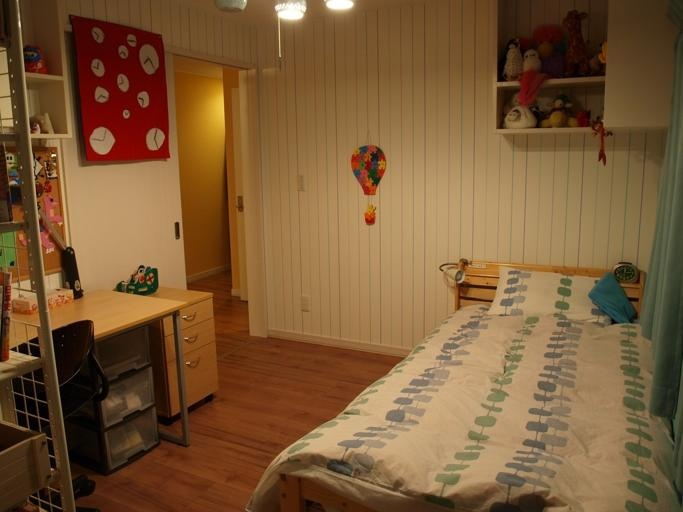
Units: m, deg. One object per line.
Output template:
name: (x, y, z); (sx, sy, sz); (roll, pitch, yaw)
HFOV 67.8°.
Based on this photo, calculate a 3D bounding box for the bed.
bed: (0.628, 0.650, 3.103); (1.309, 0.729, 1.774); (5, 36, 22)

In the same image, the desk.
desk: (-1.554, 0.701, 3.352); (1.041, 1.074, 0.858); (11, 17, 43)

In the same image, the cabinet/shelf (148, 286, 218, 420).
cabinet/shelf: (-1.256, 0.755, 3.759); (0.517, 0.820, 0.576); (4, 11, 39)
